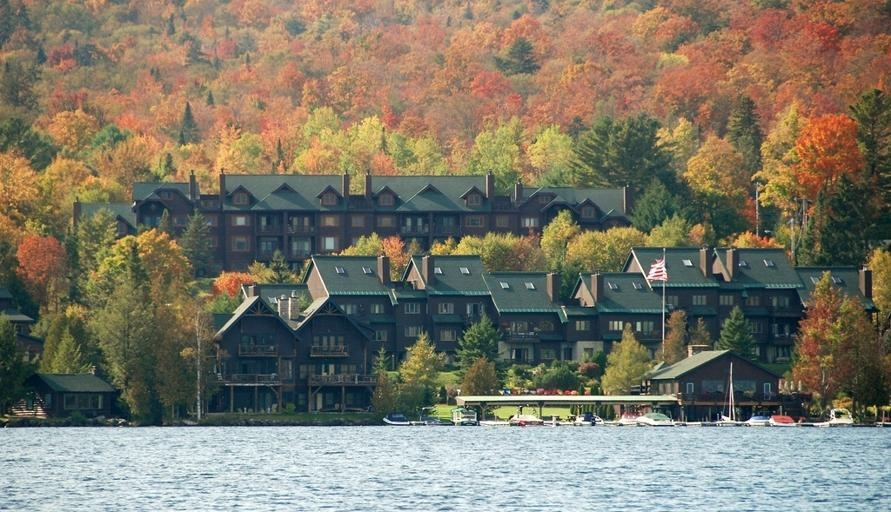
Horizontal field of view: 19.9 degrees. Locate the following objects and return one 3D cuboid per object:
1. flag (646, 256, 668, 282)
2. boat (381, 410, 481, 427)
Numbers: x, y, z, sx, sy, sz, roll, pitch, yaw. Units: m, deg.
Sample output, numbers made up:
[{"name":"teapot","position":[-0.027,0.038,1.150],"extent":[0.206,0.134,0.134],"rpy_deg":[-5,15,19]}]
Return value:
[{"name":"flag","position":[37.578,2.312,448.712],"extent":[4.208,5.270,0.599],"rpy_deg":[5,15,25]},{"name":"boat","position":[-1.687,28.049,435.624],"extent":[15.601,3.014,2.726],"rpy_deg":[0,-8,-9]}]
